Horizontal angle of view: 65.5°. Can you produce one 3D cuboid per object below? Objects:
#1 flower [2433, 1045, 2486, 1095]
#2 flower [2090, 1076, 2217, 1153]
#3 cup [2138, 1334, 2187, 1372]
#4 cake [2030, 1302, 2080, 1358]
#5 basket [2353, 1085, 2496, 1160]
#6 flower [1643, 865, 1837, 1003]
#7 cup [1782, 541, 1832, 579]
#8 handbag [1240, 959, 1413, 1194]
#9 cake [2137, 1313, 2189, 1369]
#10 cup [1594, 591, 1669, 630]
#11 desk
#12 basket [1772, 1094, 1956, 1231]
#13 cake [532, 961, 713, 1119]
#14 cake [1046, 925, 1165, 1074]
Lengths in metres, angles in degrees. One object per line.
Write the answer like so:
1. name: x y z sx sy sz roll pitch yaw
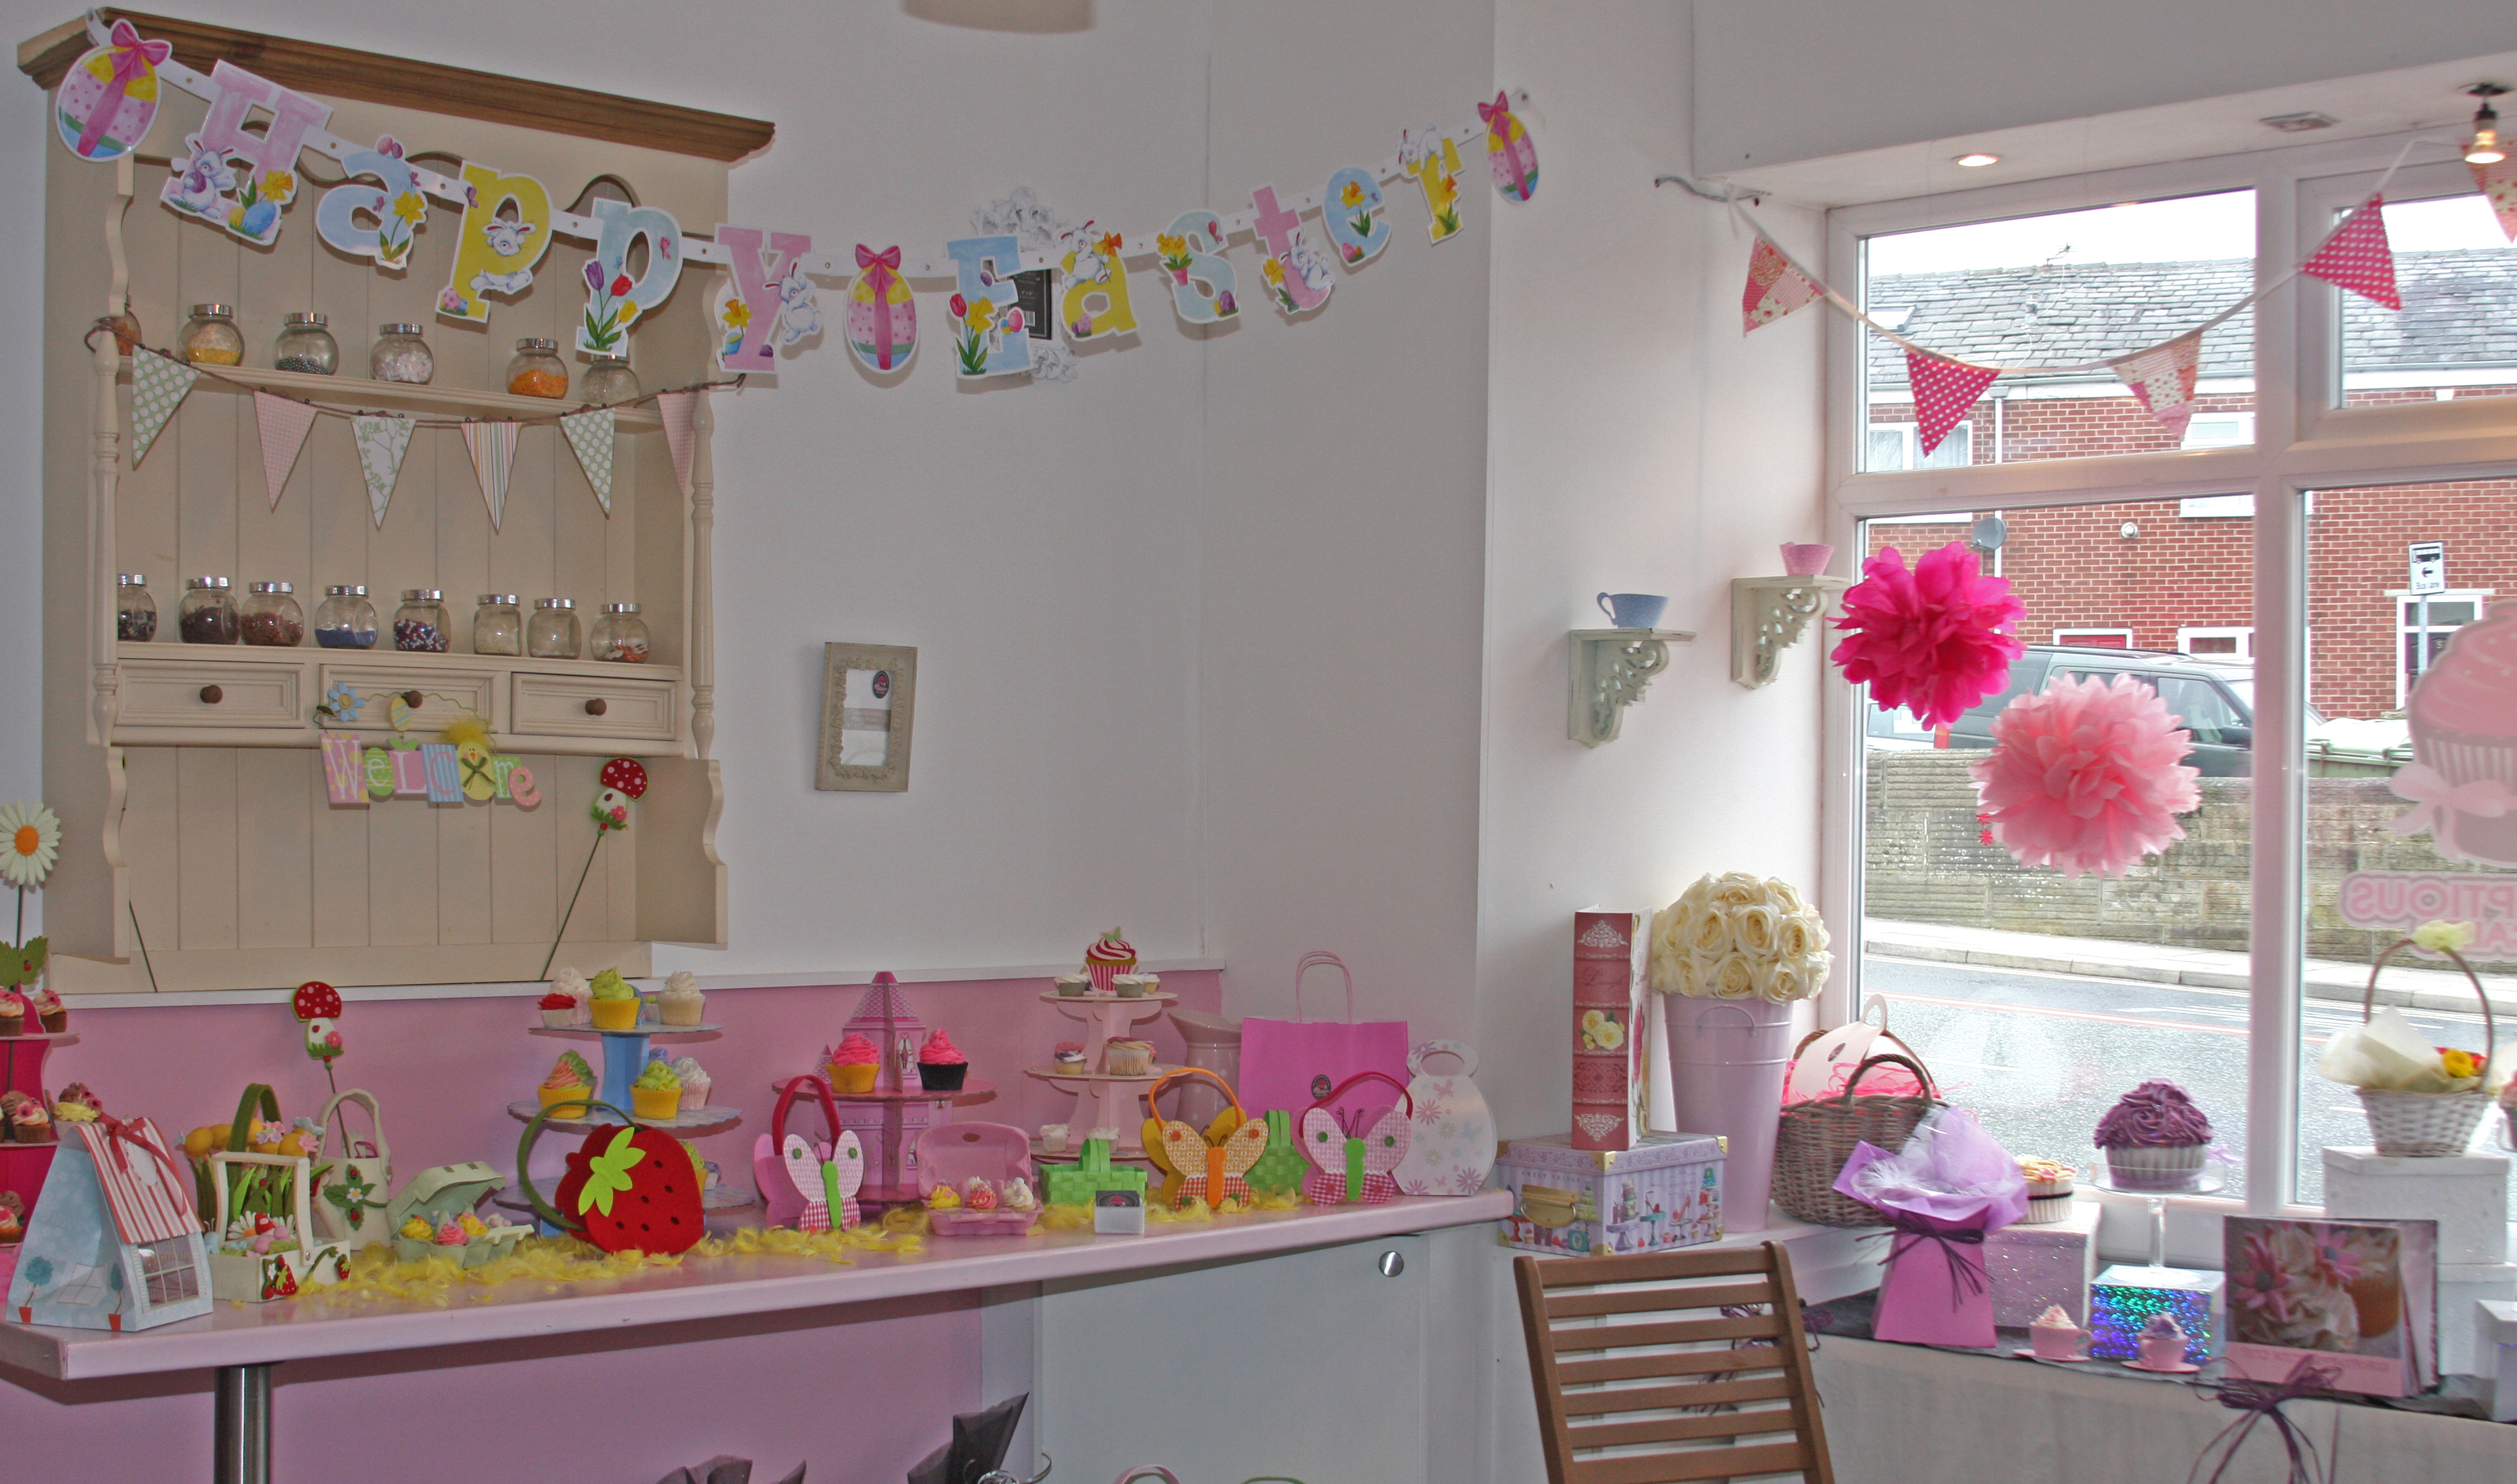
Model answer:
1. flower: 2.688 0.729 4.387 0.091 0.043 0.105 -4 12 3
2. flower: 2.109 0.898 4.618 0.184 0.114 0.184 -1 -1 10
3. cup: 1.932 1.316 4.192 0.087 0.075 0.069 2 -3 20
4. cake: 1.756 1.305 4.333 0.108 0.104 0.100 -2 -4 25
5. basket: 2.596 0.852 4.369 0.184 0.084 0.184 1 -8 6
6. flower: 1.123 0.477 4.562 0.330 0.234 0.325 10 -16 -42
7. cup: 1.348 -0.449 4.816 0.092 0.061 0.092 0 0 0
8. handbag: 0.156 0.743 4.243 0.409 0.605 0.202 1 -23 -2
9. cake: 1.940 1.303 4.243 0.104 0.097 0.094 4 -6 5
10. cup: 0.863 -0.307 4.556 0.147 0.098 0.125 -2 -1 7
11. desk: -0.887 1.120 3.964 2.827 0.323 0.920 -1 -1 -27
12. basket: 1.410 0.991 4.624 0.348 0.279 0.305 3 -4 -7
13. cake: -1.280 0.606 3.932 0.325 0.237 0.324 1 -2 -8
14. cake: -0.370 0.565 4.348 0.275 0.290 0.274 1 -5 -8
